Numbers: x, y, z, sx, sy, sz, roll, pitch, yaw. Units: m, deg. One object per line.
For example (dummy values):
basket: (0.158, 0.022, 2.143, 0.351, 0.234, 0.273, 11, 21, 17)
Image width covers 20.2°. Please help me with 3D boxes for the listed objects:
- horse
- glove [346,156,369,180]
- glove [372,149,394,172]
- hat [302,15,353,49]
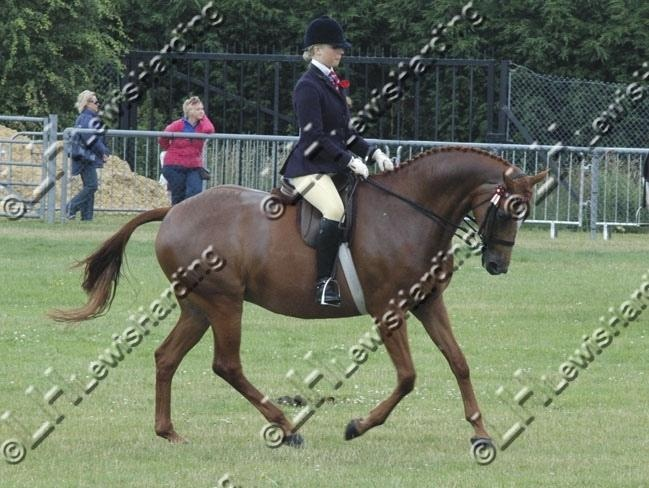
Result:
horse: (-0.726, 1.106, 35.082, 9.315, 6.526, 2.292, 2, 10, 9)
glove: (0.645, -1.518, 34.178, 0.142, 0.406, 0.307, -37, 14, 29)
glove: (1.108, -1.654, 34.374, 0.187, 0.454, 0.309, -30, 4, -33)
hat: (-0.001, -4.099, 34.237, 0.697, 0.565, 0.554, -1, 6, 11)
